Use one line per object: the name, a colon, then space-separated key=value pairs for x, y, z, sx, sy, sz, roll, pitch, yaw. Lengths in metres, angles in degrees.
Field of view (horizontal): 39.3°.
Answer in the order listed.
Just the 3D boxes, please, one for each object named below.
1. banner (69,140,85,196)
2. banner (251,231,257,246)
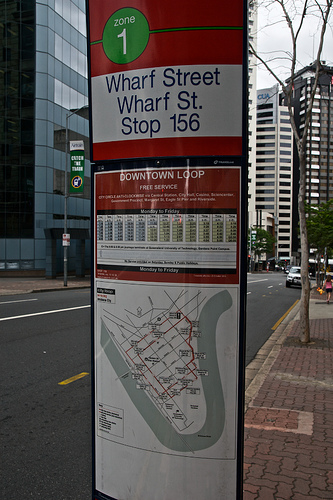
banner: x=-4.850 y=-4.455 z=25.225 sx=0.839 sy=0.347 sz=3.468 roll=-6 pitch=-44 yaw=-18
banner: x=18.390 y=-2.434 z=97.182 sx=1.492 sy=1.295 sz=7.831 roll=12 pitch=15 yaw=7
